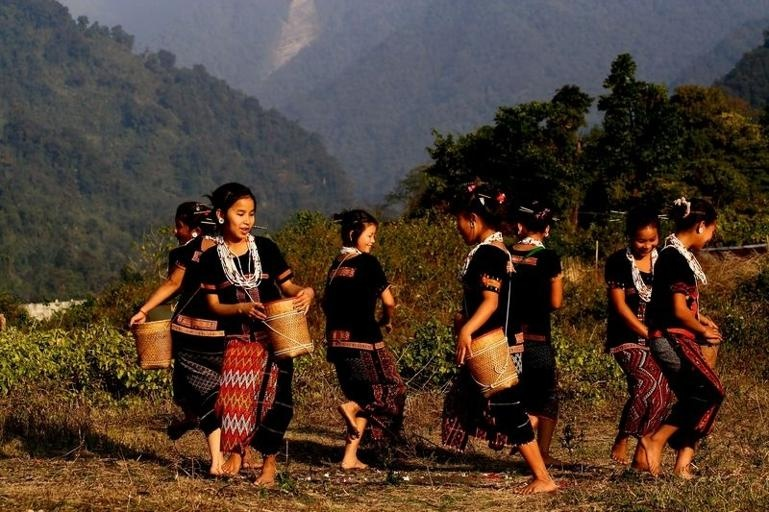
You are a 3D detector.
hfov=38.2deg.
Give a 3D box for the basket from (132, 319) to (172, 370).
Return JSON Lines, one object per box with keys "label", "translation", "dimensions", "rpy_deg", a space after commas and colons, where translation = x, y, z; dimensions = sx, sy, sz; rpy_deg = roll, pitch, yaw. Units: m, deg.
{"label": "basket", "translation": [-6.790, 2.736, 32.715], "dimensions": [1.280, 1.391, 1.290], "rpy_deg": [-8, -13, -13]}
